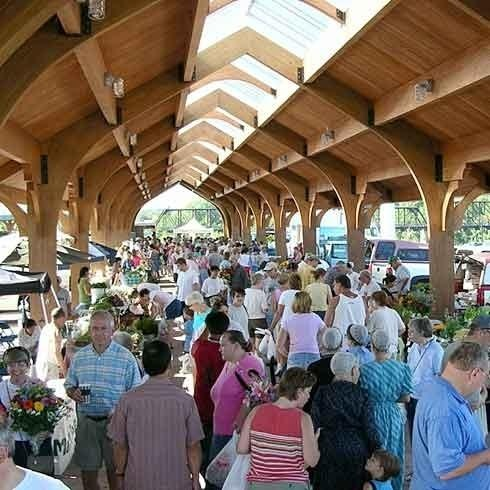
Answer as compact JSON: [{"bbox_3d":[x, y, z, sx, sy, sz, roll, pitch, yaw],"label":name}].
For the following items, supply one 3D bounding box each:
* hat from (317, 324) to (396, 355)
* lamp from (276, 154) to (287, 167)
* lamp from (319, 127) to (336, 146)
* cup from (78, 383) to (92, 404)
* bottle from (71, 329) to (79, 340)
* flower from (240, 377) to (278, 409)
[{"bbox_3d":[1.086,0.917,5.111,0.520,0.191,0.203,5,20,21],"label":"hat"},{"bbox_3d":[1.242,-2.780,17.352,0.243,0.340,0.425,0,4,3],"label":"lamp"},{"bbox_3d":[1.946,-2.535,12.237,0.380,0.232,0.670,1,14,3],"label":"lamp"},{"bbox_3d":[-1.237,1.171,4.072,0.090,0.159,0.187,2,-5,-17],"label":"cup"},{"bbox_3d":[-2.176,1.148,6.736,0.071,0.105,0.100,23,-35,-36],"label":"bottle"},{"bbox_3d":[0.105,1.042,3.671,0.217,0.189,0.374,3,-6,-21],"label":"flower"}]
